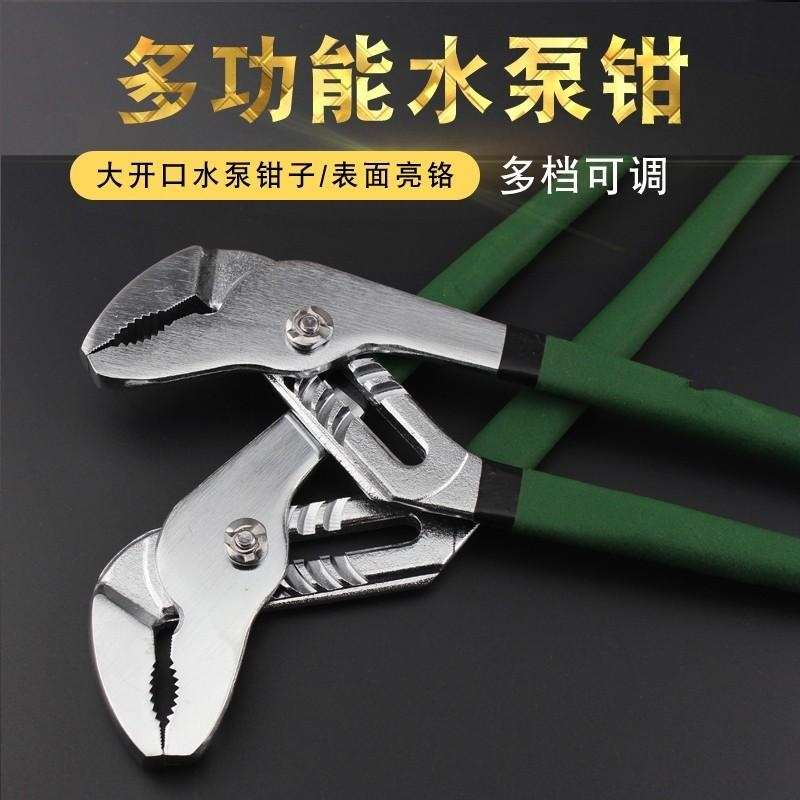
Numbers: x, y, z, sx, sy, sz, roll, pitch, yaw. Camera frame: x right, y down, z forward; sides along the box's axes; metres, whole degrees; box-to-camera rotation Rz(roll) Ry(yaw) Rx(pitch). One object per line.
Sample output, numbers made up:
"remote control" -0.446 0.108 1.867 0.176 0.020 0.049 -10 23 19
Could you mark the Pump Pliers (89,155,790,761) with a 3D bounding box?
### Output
"Pump Pliers" 0.058 0.017 1.052 0.927 0.272 0.579 -19 46 -15
